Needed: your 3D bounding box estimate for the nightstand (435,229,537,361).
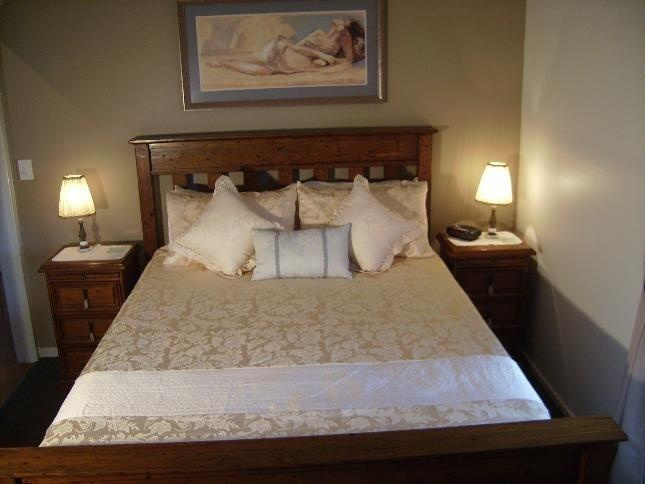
[{"bbox_3d":[1.117,0.422,3.682,0.661,0.861,0.679,-5,13,-12],"label":"nightstand"}]
